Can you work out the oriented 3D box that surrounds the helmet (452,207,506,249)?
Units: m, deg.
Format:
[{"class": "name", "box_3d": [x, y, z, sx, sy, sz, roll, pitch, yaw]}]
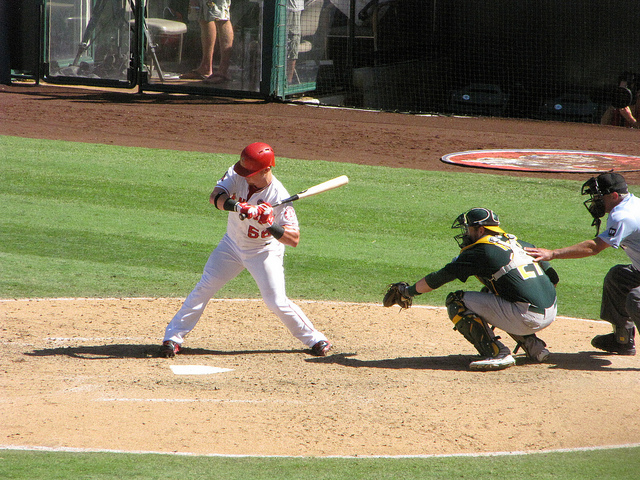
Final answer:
[{"class": "helmet", "box_3d": [1.645, -0.164, 11.663, 0.634, 0.356, 0.449, -9, 8, 12]}]

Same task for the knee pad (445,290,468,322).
[{"class": "knee pad", "box_3d": [1.398, 0.692, 11.756, 0.135, 0.324, 0.289, -3, 11, -34]}]

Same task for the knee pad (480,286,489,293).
[{"class": "knee pad", "box_3d": [1.711, 0.509, 11.791, 0.090, 0.065, 0.227, 4, 8, 9]}]

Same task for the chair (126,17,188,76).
[{"class": "chair", "box_3d": [-2.974, -4.041, 22.336, 0.965, 0.833, 1.145, -3, 20, -46]}]
